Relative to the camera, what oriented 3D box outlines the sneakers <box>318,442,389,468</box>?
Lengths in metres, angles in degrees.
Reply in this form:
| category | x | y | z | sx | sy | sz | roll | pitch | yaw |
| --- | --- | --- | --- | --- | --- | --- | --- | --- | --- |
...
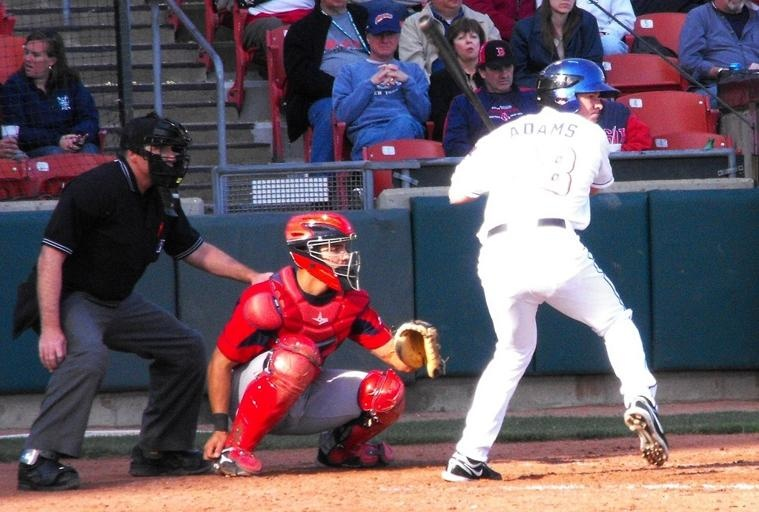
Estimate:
| category | x | y | z | sx | sy | sz | roll | pitch | yaw |
| --- | --- | --- | --- | --- | --- | --- | --- | --- | --- |
| sneakers | -0.178 | 1.386 | 9.755 | 0.345 | 0.115 | 0.220 | -1 | -4 | 5 |

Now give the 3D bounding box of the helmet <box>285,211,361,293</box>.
| category | x | y | z | sx | sy | sz | roll | pitch | yaw |
| --- | --- | --- | --- | --- | --- | --- | --- | --- | --- |
| helmet | -0.268 | -0.039 | 9.568 | 0.622 | 0.462 | 0.445 | -2 | 1 | 10 |

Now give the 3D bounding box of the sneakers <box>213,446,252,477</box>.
| category | x | y | z | sx | sy | sz | roll | pitch | yaw |
| --- | --- | --- | --- | --- | --- | --- | --- | --- | --- |
| sneakers | -0.976 | 1.379 | 9.439 | 0.296 | 0.151 | 0.156 | 0 | 10 | -3 |

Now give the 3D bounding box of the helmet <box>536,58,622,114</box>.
| category | x | y | z | sx | sy | sz | roll | pitch | yaw |
| --- | --- | --- | --- | --- | --- | --- | --- | --- | --- |
| helmet | 1.373 | -1.161 | 9.795 | 0.556 | 0.258 | 0.348 | 0 | 11 | 7 |

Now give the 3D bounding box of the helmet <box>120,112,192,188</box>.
| category | x | y | z | sx | sy | sz | roll | pitch | yaw |
| --- | --- | --- | --- | --- | --- | --- | --- | --- | --- |
| helmet | -1.477 | -0.696 | 9.518 | 0.571 | 0.456 | 0.435 | -1 | 6 | 15 |

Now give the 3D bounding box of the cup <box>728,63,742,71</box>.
| category | x | y | z | sx | sy | sz | roll | pitch | yaw |
| --- | --- | --- | --- | --- | --- | --- | --- | --- | --- |
| cup | 3.121 | -1.640 | 12.440 | 0.163 | 0.058 | 0.144 | 0 | 2 | 0 |

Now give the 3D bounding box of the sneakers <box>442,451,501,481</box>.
| category | x | y | z | sx | sy | sz | roll | pitch | yaw |
| --- | --- | --- | --- | --- | --- | --- | --- | --- | --- |
| sneakers | 0.663 | 1.383 | 9.360 | 0.473 | 0.162 | 0.156 | 2 | 4 | -16 |

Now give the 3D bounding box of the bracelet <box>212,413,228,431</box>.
| category | x | y | z | sx | sy | sz | roll | pitch | yaw |
| --- | --- | --- | --- | --- | --- | --- | --- | --- | --- |
| bracelet | -1.057 | 1.124 | 9.529 | 0.133 | 0.113 | 0.117 | -1 | -4 | -6 |

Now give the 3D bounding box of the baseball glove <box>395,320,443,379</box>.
| category | x | y | z | sx | sy | sz | roll | pitch | yaw |
| --- | --- | --- | --- | --- | --- | --- | --- | --- | --- |
| baseball glove | 0.306 | 0.601 | 9.479 | 0.338 | 0.368 | 0.177 | -10 | 14 | 23 |

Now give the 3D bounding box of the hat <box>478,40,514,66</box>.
| category | x | y | z | sx | sy | sz | roll | pitch | yaw |
| --- | --- | --- | --- | --- | --- | --- | --- | --- | --- |
| hat | 0.964 | -1.681 | 11.787 | 0.226 | 0.145 | 0.286 | -3 | 7 | -5 |

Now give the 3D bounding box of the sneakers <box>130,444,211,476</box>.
| category | x | y | z | sx | sy | sz | roll | pitch | yaw |
| --- | --- | --- | --- | --- | --- | --- | --- | --- | --- |
| sneakers | -1.451 | 1.410 | 9.816 | 0.595 | 0.208 | 0.202 | -1 | -1 | -5 |

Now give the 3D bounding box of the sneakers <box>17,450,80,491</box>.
| category | x | y | z | sx | sy | sz | roll | pitch | yaw |
| --- | --- | --- | --- | --- | --- | --- | --- | --- | --- |
| sneakers | -2.181 | 1.411 | 9.276 | 0.447 | 0.237 | 0.225 | -1 | 1 | 4 |

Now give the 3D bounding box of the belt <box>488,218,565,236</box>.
| category | x | y | z | sx | sy | sz | roll | pitch | yaw |
| --- | --- | --- | --- | --- | --- | --- | --- | --- | --- |
| belt | 0.943 | -0.181 | 9.124 | 0.494 | 0.119 | 0.061 | 1 | 12 | 13 |
